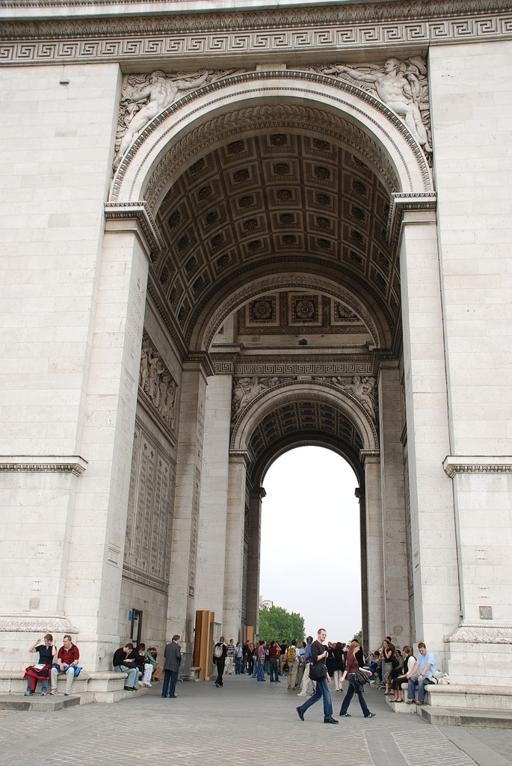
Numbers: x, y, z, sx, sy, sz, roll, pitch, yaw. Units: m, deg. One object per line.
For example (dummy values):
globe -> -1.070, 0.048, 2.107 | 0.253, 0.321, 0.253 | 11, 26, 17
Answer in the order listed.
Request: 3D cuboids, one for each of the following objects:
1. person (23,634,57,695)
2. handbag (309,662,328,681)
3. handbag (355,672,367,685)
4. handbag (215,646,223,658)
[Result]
person -> -3.233, 4.206, 9.271 | 0.411, 0.812, 0.602 | 8, -21, -15
handbag -> 0.756, 3.501, 7.466 | 0.189, 0.214, 0.330 | 0, -21, 6
handbag -> 1.479, 4.137, 8.665 | 0.148, 0.188, 0.207 | -1, -47, 1
handbag -> -0.954, 6.962, 16.005 | 0.244, 0.346, 0.188 | 0, -14, 4
